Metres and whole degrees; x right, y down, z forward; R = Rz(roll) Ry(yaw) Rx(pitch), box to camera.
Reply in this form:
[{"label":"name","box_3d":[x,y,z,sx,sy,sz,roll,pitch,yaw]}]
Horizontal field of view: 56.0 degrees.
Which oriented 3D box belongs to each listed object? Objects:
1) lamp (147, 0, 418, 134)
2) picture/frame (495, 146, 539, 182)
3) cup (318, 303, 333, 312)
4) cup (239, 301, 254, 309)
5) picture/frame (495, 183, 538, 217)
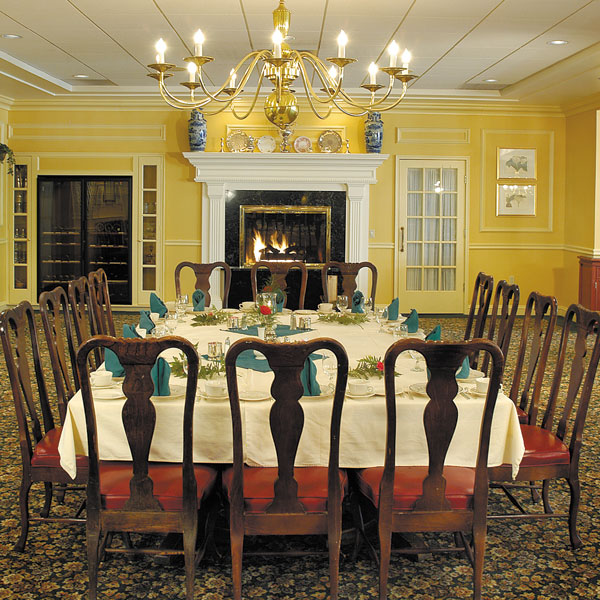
[{"label":"lamp","box_3d":[-0.195,-2.249,5.402,2.175,1.106,2.129,-2,7,-16]},{"label":"picture/frame","box_3d":[3.160,-2.017,8.317,0.580,0.385,0.022,-1,2,-5]},{"label":"cup","box_3d":[0.185,0.054,4.008,0.077,0.046,0.061,-3,7,-4]},{"label":"cup","box_3d":[-0.389,0.043,4.162,0.070,0.033,0.081,4,8,30]},{"label":"picture/frame","box_3d":[3.195,-1.500,8.390,0.537,0.387,0.023,0,3,-4]}]
